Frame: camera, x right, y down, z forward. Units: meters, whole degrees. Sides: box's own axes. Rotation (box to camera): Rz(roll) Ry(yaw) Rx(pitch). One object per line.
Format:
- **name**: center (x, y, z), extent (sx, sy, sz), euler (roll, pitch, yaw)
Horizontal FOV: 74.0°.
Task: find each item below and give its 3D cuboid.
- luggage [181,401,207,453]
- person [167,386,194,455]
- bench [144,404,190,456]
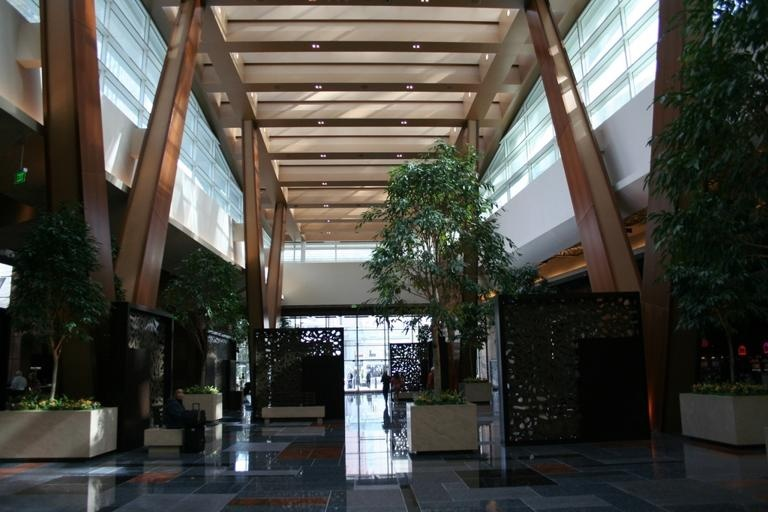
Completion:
- **luggage**: center (-4.322, 3.939, 11.577), extent (0.618, 0.960, 0.826), euler (5, -11, -21)
- **person**: center (-4.574, 3.685, 11.506), extent (0.640, 1.341, 0.578), euler (-4, -10, -12)
- **bench**: center (-4.751, 3.911, 11.670), extent (0.869, 1.167, 1.246), euler (-1, -10, 0)
